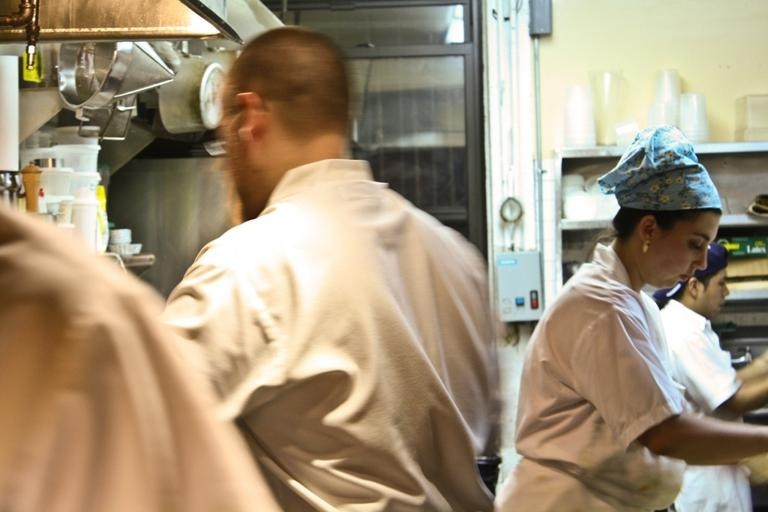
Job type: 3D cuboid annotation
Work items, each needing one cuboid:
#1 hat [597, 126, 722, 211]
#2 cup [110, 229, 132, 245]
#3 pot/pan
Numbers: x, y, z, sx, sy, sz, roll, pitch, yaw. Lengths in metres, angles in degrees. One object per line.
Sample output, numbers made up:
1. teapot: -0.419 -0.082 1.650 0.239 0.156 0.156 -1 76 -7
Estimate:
1. hat: 1.015 -0.325 3.663 0.430 0.289 0.331 3 1 26
2. cup: -1.102 -0.084 4.161 0.065 0.049 0.063 -1 -1 0
3. pot/pan: -0.775 -0.668 4.102 0.184 0.339 0.276 3 12 8
